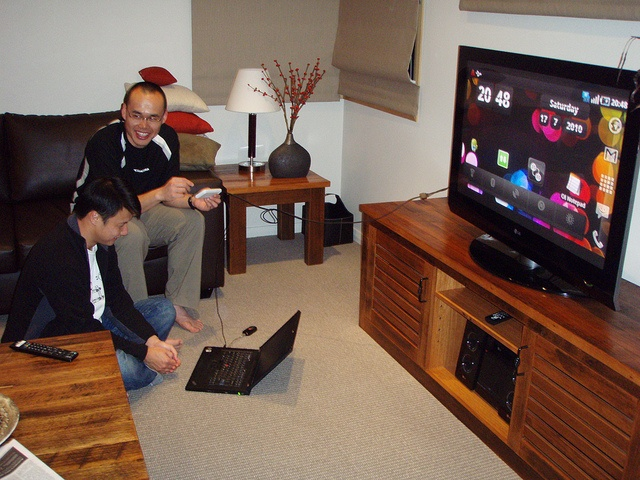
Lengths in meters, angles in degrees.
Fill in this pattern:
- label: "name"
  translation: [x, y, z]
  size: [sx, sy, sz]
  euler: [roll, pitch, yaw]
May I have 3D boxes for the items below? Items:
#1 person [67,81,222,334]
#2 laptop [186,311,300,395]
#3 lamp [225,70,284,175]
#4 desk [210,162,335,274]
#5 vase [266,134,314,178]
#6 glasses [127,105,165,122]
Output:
- label: "person"
  translation: [-1.053, -0.207, 3.024]
  size: [0.860, 1.455, 0.601]
  euler: [26, 28, 32]
- label: "laptop"
  translation: [-0.417, 0.628, 2.591]
  size: [0.484, 0.236, 0.388]
  euler: [7, 27, 2]
- label: "lamp"
  translation: [-0.496, -0.894, 3.761]
  size: [0.354, 0.750, 0.353]
  euler: [12, 23, 28]
- label: "desk"
  translation: [-0.406, -0.303, 3.866]
  size: [0.822, 0.760, 0.841]
  euler: [-2, 18, -16]
- label: "vase"
  translation: [-0.238, -0.643, 3.828]
  size: [0.309, 0.319, 0.316]
  euler: [7, 11, 33]
- label: "glasses"
  translation: [-0.964, -0.684, 2.760]
  size: [0.191, 0.074, 0.071]
  euler: [-6, 21, -18]
